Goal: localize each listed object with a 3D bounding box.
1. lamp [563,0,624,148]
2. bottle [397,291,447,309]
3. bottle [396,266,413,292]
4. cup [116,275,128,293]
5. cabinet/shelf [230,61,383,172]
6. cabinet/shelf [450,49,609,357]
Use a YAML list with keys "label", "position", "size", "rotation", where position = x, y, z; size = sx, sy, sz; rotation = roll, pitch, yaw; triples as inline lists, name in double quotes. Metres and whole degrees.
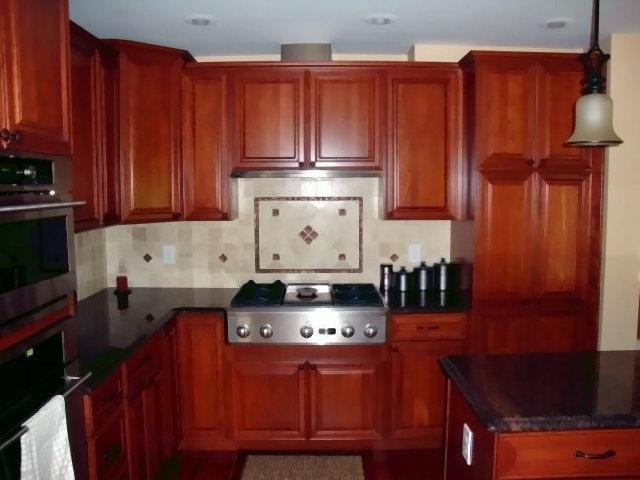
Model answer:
- label: "lamp"
  position: [1.392, -0.823, 2.803]
  size: [0.246, 0.728, 0.286]
  rotation: [6, 15, 26]
- label: "bottle"
  position: [0.698, 0.404, 3.831]
  size: [0.351, 0.041, 0.458]
  rotation: [2, 14, 11]
- label: "bottle"
  position: [0.606, 0.283, 4.056]
  size: [0.157, 0.203, 0.153]
  rotation: [0, 4, 0]
- label: "cup"
  position: [-1.420, 0.327, 4.093]
  size: [0.107, 0.117, 0.107]
  rotation: [1, 7, 0]
- label: "cabinet/shelf"
  position: [-0.079, -0.821, 3.813]
  size: [0.999, 0.661, 0.187]
  rotation: [0, 14, 4]
- label: "cabinet/shelf"
  position: [1.400, -0.236, 3.664]
  size: [0.877, 1.901, 0.383]
  rotation: [-2, 13, -2]
